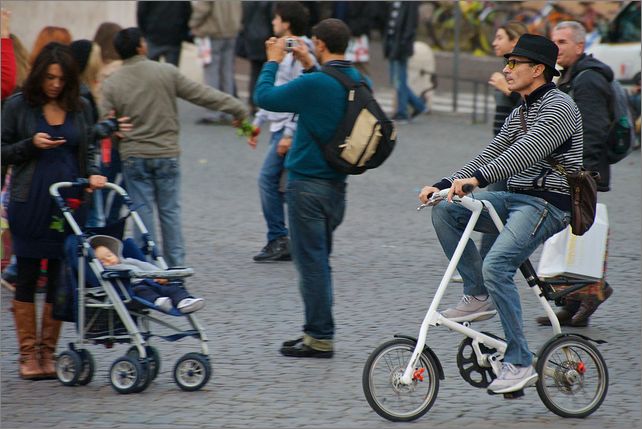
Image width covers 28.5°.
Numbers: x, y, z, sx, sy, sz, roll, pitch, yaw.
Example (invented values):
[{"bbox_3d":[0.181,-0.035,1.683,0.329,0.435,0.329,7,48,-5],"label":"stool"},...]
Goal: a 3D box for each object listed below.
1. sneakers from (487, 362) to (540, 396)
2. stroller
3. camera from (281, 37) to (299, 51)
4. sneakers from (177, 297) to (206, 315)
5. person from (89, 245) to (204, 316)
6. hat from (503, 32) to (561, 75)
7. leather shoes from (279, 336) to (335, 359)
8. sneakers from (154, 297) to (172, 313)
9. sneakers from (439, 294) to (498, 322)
[{"bbox_3d":[1.654,1.392,10.967,0.257,0.233,0.639,-2,9,43],"label":"sneakers"},{"bbox_3d":[-1.706,0.650,11.352,1.368,1.723,1.245,-1,25,-11],"label":"stroller"},{"bbox_3d":[-0.282,-1.556,11.544,0.151,0.130,0.161,2,3,1],"label":"camera"},{"bbox_3d":[-1.148,0.805,11.187,0.284,0.097,0.111,-8,-6,25],"label":"sneakers"},{"bbox_3d":[-1.592,0.578,11.459,0.416,0.249,1.205,-20,38,-32],"label":"person"},{"bbox_3d":[1.915,-1.428,11.164,0.592,0.207,0.449,21,2,11],"label":"hat"},{"bbox_3d":[-0.118,1.250,11.908,0.638,0.209,0.181,3,0,6],"label":"leather shoes"},{"bbox_3d":[-1.398,0.798,11.160,0.166,0.115,0.094,5,24,3],"label":"sneakers"},{"bbox_3d":[1.286,0.826,11.230,0.612,0.203,0.193,-7,5,-24],"label":"sneakers"}]
